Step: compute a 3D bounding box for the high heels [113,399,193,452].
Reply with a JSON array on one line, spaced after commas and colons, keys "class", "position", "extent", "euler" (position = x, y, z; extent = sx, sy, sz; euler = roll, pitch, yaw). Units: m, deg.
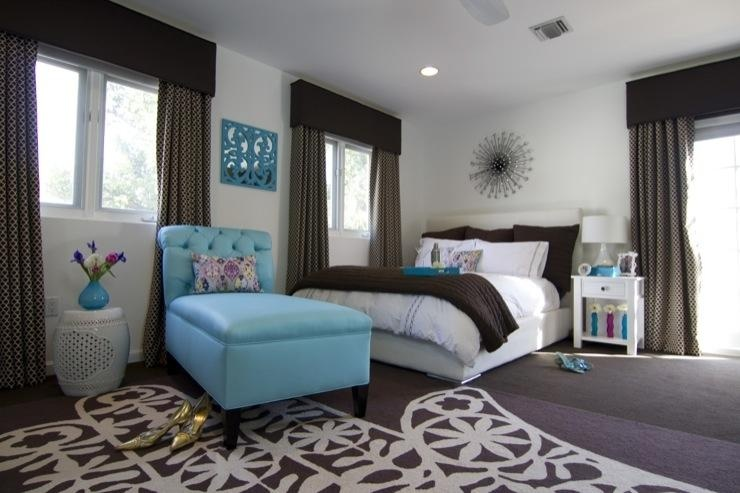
[{"class": "high heels", "position": [-1.393, 1.198, 3.325], "extent": [0.570, 0.248, 0.176], "euler": [-13, 15, -36]}]

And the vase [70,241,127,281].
[{"class": "vase", "position": [-2.253, 0.156, 4.103], "extent": [0.419, 0.357, 0.449], "euler": [-6, 15, -29]}]

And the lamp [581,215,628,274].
[{"class": "lamp", "position": [2.497, 0.002, 5.242], "extent": [0.384, 0.653, 0.392], "euler": [1, -5, 29]}]

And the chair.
[{"class": "chair", "position": [-0.988, 0.496, 3.958], "extent": [1.083, 1.172, 2.137], "euler": [-9, 16, -36]}]

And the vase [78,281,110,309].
[{"class": "vase", "position": [-2.165, 0.383, 3.865], "extent": [0.208, 0.221, 0.216], "euler": [1, -3, -27]}]

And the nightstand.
[{"class": "nightstand", "position": [2.478, 0.672, 5.167], "extent": [0.576, 0.779, 0.411], "euler": [0, 6, 31]}]

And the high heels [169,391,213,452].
[{"class": "high heels", "position": [-1.168, 1.175, 3.291], "extent": [0.132, 0.115, 0.378], "euler": [9, 38, 15]}]
